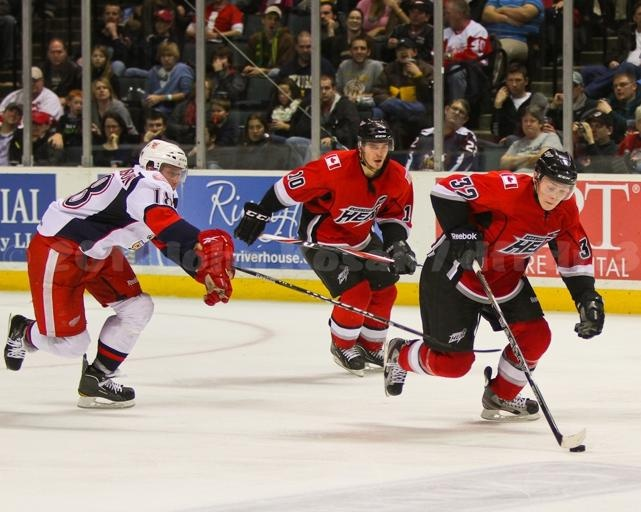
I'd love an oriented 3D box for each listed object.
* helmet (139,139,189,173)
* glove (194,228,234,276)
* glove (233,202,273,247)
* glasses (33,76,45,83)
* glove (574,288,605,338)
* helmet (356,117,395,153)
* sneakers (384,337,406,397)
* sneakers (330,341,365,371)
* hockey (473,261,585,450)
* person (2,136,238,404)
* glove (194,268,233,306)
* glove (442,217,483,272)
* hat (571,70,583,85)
[{"bbox_3d":[-0.805,-0.518,5.019,0.238,0.178,0.157,5,17,-4],"label":"helmet"},{"bbox_3d":[-0.485,-0.012,4.559,0.191,0.187,0.086,-2,12,-20],"label":"glove"},{"bbox_3d":[-0.385,-0.179,5.711,0.221,0.253,0.114,40,6,8],"label":"glove"},{"bbox_3d":[-2.553,-1.595,8.777,0.065,0.019,0.079,-1,-9,-3],"label":"glasses"},{"bbox_3d":[1.286,0.272,4.653,0.125,0.224,0.138,5,-36,-12],"label":"glove"},{"bbox_3d":[0.330,-0.690,5.462,0.162,0.161,0.196,1,-3,-33],"label":"helmet"},{"bbox_3d":[0.384,0.580,5.100,0.112,0.288,0.153,-4,10,-30],"label":"sneakers"},{"bbox_3d":[0.148,0.617,5.913,0.103,0.106,0.282,-11,12,-26],"label":"sneakers"},{"bbox_3d":[1.085,0.549,5.072,0.153,0.168,1.141,8,38,-33],"label":"hockey"},{"bbox_3d":[-1.200,-0.114,5.437,1.746,1.517,0.973,5,19,1],"label":"person"},{"bbox_3d":[-0.495,0.148,4.620,0.206,0.079,0.174,0,-34,3],"label":"glove"},{"bbox_3d":[0.711,-0.052,4.653,0.239,0.200,0.090,-15,-16,-32],"label":"glove"},{"bbox_3d":[1.987,-1.361,7.454,0.084,0.056,0.119,-4,-25,32],"label":"hat"}]
